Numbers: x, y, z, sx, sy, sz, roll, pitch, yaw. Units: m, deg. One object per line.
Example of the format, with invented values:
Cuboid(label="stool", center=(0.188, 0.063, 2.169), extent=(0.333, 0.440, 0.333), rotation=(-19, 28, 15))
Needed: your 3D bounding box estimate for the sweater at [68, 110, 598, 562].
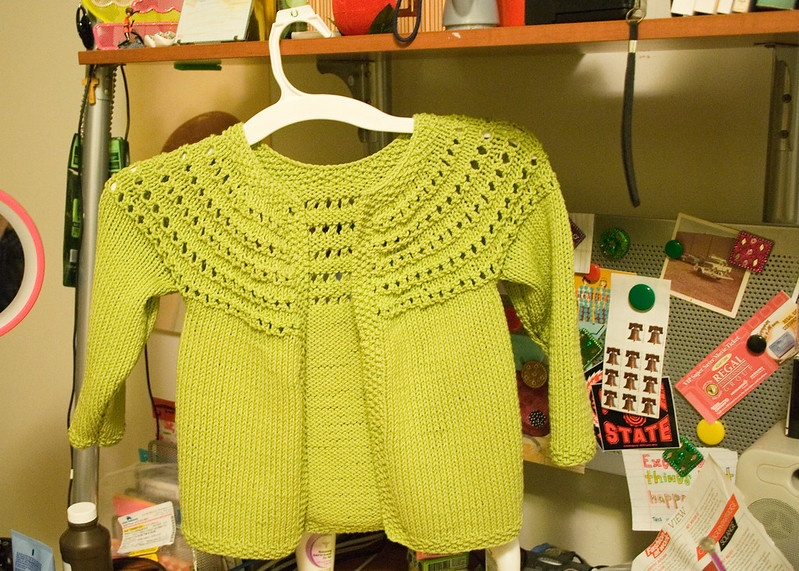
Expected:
Cuboid(label="sweater", center=(-0.127, 0.081, 1.186), extent=(0.899, 0.688, 0.338), rotation=(3, 20, 13))
